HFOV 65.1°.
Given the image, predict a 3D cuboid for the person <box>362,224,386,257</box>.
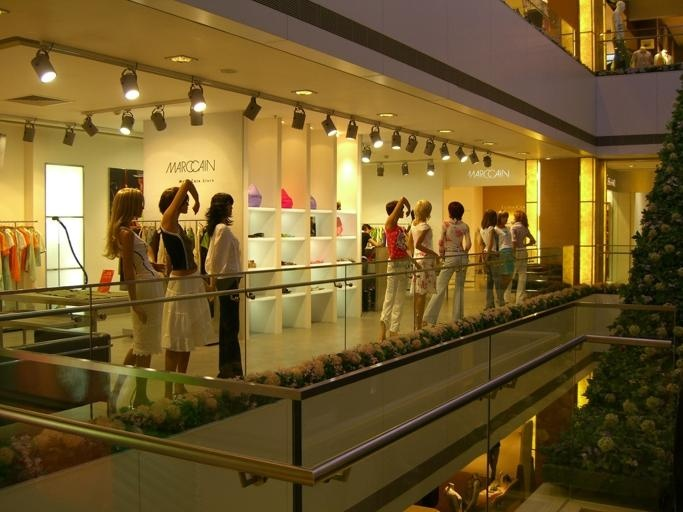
[{"bbox_3d":[0.615,-0.236,11.008,0.452,0.864,0.412,4,19,3],"label":"person"}]
